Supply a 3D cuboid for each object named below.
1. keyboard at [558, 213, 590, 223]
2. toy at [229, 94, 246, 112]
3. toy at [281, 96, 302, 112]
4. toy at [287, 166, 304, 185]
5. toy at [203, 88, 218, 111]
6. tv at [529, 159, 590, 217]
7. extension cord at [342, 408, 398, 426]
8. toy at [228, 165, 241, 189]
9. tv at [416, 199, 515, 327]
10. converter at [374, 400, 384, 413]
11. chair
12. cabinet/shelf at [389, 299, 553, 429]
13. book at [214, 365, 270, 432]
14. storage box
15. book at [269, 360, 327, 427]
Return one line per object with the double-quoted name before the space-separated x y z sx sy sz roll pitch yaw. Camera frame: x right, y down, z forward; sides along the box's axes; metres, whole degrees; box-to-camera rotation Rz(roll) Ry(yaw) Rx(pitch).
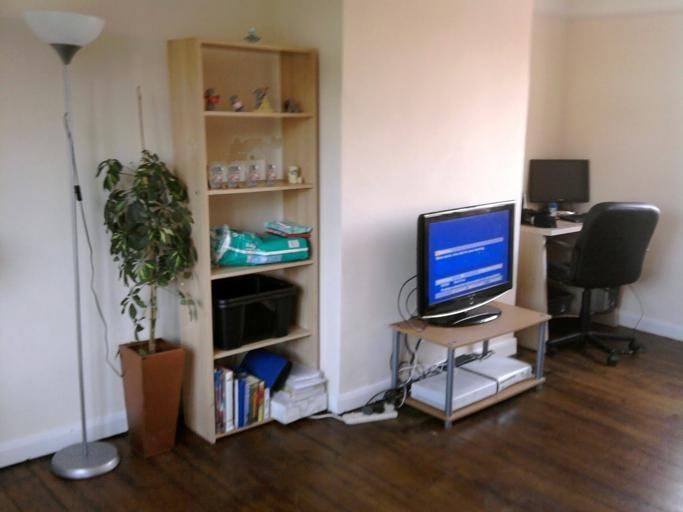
"keyboard" 1.953 -0.317 4.916 0.148 0.038 0.156 -13 20 -35
"toy" -0.603 -0.877 3.387 0.087 0.089 0.347 -6 16 -8
"toy" -0.302 -0.897 3.465 0.104 0.097 0.092 -3 27 -4
"toy" -0.286 -0.481 3.509 0.084 0.106 0.109 -15 23 -38
"toy" -0.723 -0.861 3.251 0.073 0.113 0.176 -7 17 -12
"tv" 1.872 -0.604 5.057 0.559 0.477 0.130 -1 8 -9
"extension cord" 0.167 0.966 3.520 0.219 0.043 0.118 -6 8 -27
"toy" -0.598 -0.451 3.289 0.095 0.124 0.055 -12 19 -28
"tv" 0.761 0.044 3.692 0.718 0.602 0.274 -12 16 -37
"converter" 0.230 0.929 3.610 0.039 0.054 0.054 4 62 45
"chair" 1.937 0.193 4.363 0.749 1.231 0.566 -1 17 9
"cabinet/shelf" 0.820 0.642 3.817 1.007 0.589 0.541 -14 20 -33
"book" -0.598 0.753 3.485 0.321 0.407 0.424 -3 7 -31
"storage box" -0.548 0.317 3.539 0.501 0.281 0.349 -6 13 -39
"book" -0.266 0.819 3.545 0.303 0.184 0.294 -15 24 -36
